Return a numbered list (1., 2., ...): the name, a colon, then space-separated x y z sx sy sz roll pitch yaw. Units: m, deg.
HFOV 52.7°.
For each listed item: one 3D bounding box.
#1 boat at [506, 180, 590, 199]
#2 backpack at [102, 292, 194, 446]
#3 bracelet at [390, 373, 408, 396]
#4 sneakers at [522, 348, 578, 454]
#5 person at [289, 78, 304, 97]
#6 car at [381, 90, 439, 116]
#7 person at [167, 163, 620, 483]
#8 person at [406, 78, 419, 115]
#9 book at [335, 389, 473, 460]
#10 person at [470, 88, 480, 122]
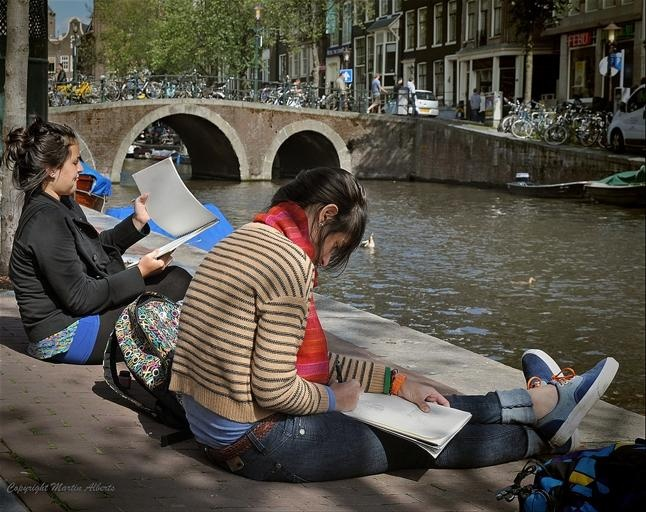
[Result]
1. boat: 7.137 -2.092 20.859 0.708 0.326 2.220 -4 4 -36
2. backpack: -0.701 0.472 2.635 0.348 0.459 0.431 33 44 -4
3. bracelet: 0.278 0.484 2.476 0.040 0.075 0.061 21 17 -15
4. sneakers: 0.960 0.604 2.948 0.193 0.201 0.517 -28 19 16
5. person: -1.243 -8.044 31.590 0.670 0.850 1.048 8 6 -5
6. car: 4.410 -7.671 32.801 1.479 0.901 2.301 -8 16 -36
7. person: 0.313 0.313 2.560 1.834 0.977 0.784 9 -1 -23
8. person: 4.414 -7.836 32.267 0.614 1.702 1.160 -2 7 -2
9. book: 0.299 0.536 2.292 0.297 0.059 0.294 15 12 41
10. person: 7.296 -7.116 31.041 0.551 1.404 0.808 10 7 10
